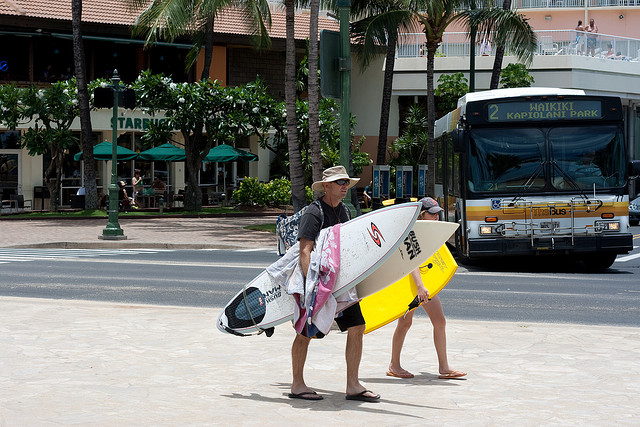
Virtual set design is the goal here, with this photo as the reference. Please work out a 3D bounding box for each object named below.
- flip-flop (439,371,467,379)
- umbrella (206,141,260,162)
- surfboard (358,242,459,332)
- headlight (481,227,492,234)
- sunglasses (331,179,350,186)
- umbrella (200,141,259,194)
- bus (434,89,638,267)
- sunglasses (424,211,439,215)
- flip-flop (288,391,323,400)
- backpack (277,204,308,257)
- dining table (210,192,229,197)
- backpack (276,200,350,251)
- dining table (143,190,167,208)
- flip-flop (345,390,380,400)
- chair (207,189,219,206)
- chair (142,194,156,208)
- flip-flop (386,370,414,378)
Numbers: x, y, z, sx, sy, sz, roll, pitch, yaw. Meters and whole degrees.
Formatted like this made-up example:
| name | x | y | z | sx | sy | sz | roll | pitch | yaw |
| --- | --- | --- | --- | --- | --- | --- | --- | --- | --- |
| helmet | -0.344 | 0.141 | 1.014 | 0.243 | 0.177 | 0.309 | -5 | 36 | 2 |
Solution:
| name | x | y | z | sx | sy | sz | roll | pitch | yaw |
| --- | --- | --- | --- | --- | --- | --- | --- | --- | --- |
| flip-flop | 1.759 | 2.124 | 12.018 | 0.323 | 0.075 | 0.113 | -6 | 1 | 8 |
| umbrella | -4.267 | -3.015 | 42.735 | 2.151 | 0.972 | 4.048 | 0 | 3 | -4 |
| surfboard | 1.141 | 0.985 | 12.146 | 0.857 | 1.457 | 2.602 | 1 | 0 | -10 |
| headlight | 3.686 | 0.354 | 19.886 | 0.246 | 0.151 | 0.127 | 0 | -6 | 5 |
| sunglasses | 0.279 | -0.406 | 11.480 | 0.238 | 0.080 | 0.107 | -2 | 3 | -37 |
| umbrella | -4.245 | -2.839 | 41.417 | 2.220 | 0.741 | 1.441 | 0 | 3 | -8 |
| bus | 4.690 | -0.823 | 22.758 | 3.077 | 2.518 | 5.970 | -1 | -1 | -2 |
| sunglasses | 1.547 | -0.023 | 12.348 | 0.202 | 0.043 | 0.088 | -2 | 3 | -37 |
| flip-flop | -0.180 | 2.258 | 11.338 | 0.402 | 0.095 | 0.136 | 0 | 5 | 11 |
| backpack | -0.162 | 0.214 | 11.774 | 0.314 | 0.674 | 0.699 | 0 | 1 | -43 |
| dining table | -5.093 | -0.964 | 44.910 | 0.769 | 0.285 | 3.955 | 0 | 3 | -5 |
| backpack | -0.265 | 0.131 | 11.531 | 0.632 | 0.629 | 0.308 | 1 | 3 | 7 |
| dining table | -7.655 | -0.715 | 41.468 | 1.090 | 0.825 | 2.132 | 0 | 3 | -10 |
| flip-flop | 0.519 | 2.299 | 11.384 | 0.382 | 0.102 | 0.143 | -2 | 0 | 8 |
| chair | -5.396 | -0.893 | 45.297 | 0.766 | 0.694 | 0.544 | 1 | -7 | -6 |
| chair | -8.024 | -0.612 | 42.115 | 0.754 | 0.650 | 0.549 | 0 | 0 | -2 |
| flip-flop | 1.087 | 2.134 | 12.104 | 0.337 | 0.079 | 0.118 | -1 | 2 | 13 |
